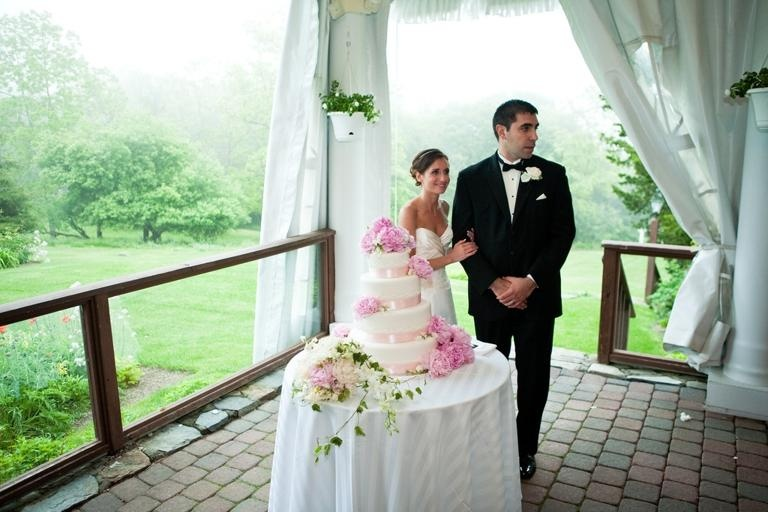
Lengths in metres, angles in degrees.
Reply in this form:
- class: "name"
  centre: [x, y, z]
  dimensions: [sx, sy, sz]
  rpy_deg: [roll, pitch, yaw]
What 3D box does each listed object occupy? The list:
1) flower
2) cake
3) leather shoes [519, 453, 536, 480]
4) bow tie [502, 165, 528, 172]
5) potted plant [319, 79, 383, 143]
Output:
- class: "flower"
  centre: [0.002, 0.361, 4.114]
  dimensions: [1.392, 1.194, 0.770]
  rpy_deg: [-9, 3, -30]
- class: "cake"
  centre: [0.020, 0.343, 3.722]
  dimensions: [0.710, 0.749, 0.699]
  rpy_deg: [4, 10, 9]
- class: "leather shoes"
  centre: [1.131, 1.664, 4.237]
  dimensions: [0.105, 0.093, 0.227]
  rpy_deg: [-3, -8, 18]
- class: "bow tie"
  centre: [0.990, -0.661, 4.063]
  dimensions: [0.089, 0.031, 0.082]
  rpy_deg: [1, -1, -3]
- class: "potted plant"
  centre: [-0.321, -1.527, 5.955]
  dimensions: [0.643, 0.624, 0.692]
  rpy_deg: [-2, 0, 4]
